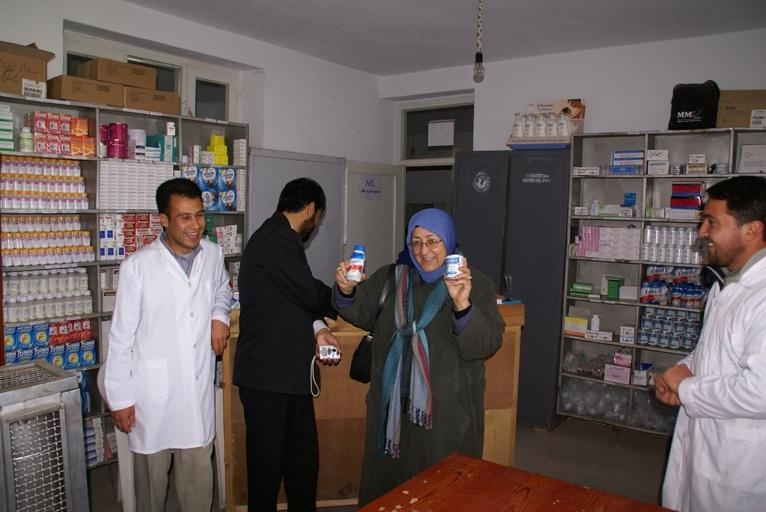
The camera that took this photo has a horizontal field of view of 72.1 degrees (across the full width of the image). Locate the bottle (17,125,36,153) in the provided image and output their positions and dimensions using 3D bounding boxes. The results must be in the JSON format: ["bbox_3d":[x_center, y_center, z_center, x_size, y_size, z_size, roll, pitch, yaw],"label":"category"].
[{"bbox_3d":[-2.948,-0.963,4.339,0.082,0.204,0.087,0,6,0],"label":"bottle"}]

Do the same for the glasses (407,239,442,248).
[{"bbox_3d":[0.221,-0.070,2.865,0.185,0.045,0.069,1,7,16],"label":"glasses"}]

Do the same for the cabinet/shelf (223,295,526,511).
[{"bbox_3d":[-0.113,0.834,3.086,1.569,1.132,0.520,0,4,-3],"label":"cabinet/shelf"}]

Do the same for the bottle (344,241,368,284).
[{"bbox_3d":[-0.158,0.050,2.904,0.099,0.214,0.135,-1,6,-5],"label":"bottle"}]

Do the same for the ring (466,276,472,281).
[{"bbox_3d":[0.436,0.114,2.691,0.026,0.012,0.035,4,30,-8],"label":"ring"}]
